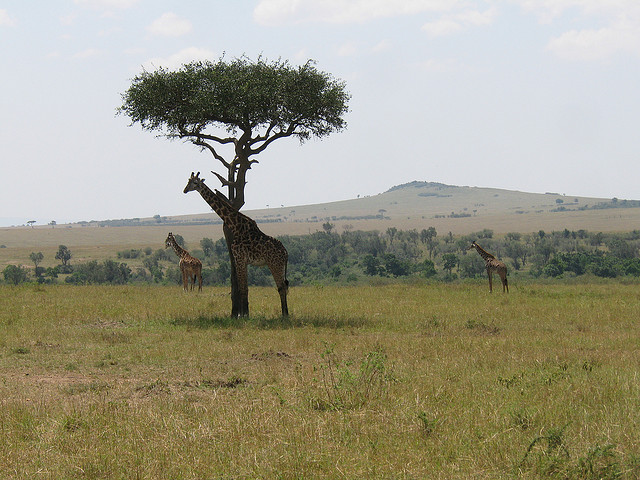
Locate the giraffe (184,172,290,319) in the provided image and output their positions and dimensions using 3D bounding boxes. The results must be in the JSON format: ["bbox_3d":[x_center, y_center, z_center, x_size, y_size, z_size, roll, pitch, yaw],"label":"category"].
[{"bbox_3d":[-2.758,0.289,33.580,3.104,5.129,1.777,-2,0,-4],"label":"giraffe"}]

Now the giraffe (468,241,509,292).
[{"bbox_3d":[7.964,1.329,43.053,1.204,2.183,3.375,-2,0,6],"label":"giraffe"}]
